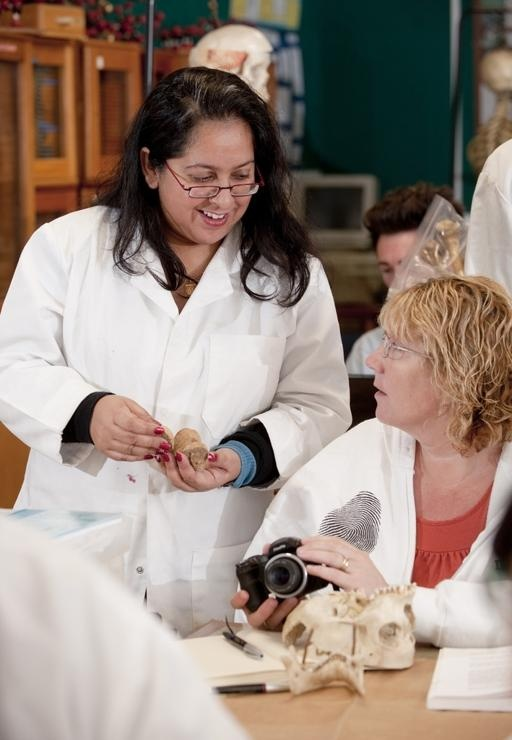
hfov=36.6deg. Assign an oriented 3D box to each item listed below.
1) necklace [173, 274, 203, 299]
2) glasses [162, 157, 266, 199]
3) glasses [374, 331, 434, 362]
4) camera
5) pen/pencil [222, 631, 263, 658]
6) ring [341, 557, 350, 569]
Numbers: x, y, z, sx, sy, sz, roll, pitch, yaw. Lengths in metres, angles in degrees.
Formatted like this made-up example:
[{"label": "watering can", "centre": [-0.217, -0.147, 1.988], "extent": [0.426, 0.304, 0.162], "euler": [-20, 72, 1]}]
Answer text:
[{"label": "necklace", "centre": [-0.155, -0.187, 1.744], "extent": [0.058, 0.050, 0.014], "euler": [29, -2, -4]}, {"label": "glasses", "centre": [-0.086, -0.383, 1.569], "extent": [0.187, 0.080, 0.083], "euler": [-2, 5, -7]}, {"label": "glasses", "centre": [0.280, -0.041, 1.421], "extent": [0.071, 0.018, 0.053], "euler": [11, 7, -22]}, {"label": "camera", "centre": [0.038, 0.323, 1.239], "extent": [0.147, 0.087, 0.076], "euler": [-22, -21, 25]}, {"label": "pen/pencil", "centre": [-0.019, 0.405, 1.152], "extent": [0.019, 0.014, 0.085], "euler": [10, -3, -23]}, {"label": "ring", "centre": [0.139, 0.303, 1.213], "extent": [0.015, 0.013, 0.013], "euler": [7, 42, -3]}]
